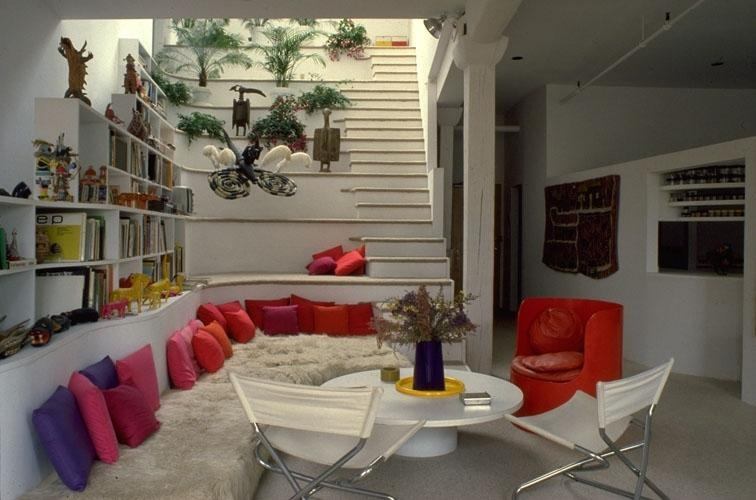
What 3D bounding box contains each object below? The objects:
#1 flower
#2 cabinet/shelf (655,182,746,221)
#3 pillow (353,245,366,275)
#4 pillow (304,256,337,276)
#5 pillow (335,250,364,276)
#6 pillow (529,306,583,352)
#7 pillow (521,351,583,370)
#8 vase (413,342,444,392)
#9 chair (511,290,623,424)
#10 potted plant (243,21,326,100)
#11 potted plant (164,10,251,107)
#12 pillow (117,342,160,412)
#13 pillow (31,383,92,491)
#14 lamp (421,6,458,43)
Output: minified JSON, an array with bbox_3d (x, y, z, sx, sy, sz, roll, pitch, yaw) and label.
[{"bbox_3d":[0.362,0.552,4.028,0.624,0.472,0.636,-2,8,6],"label":"flower"},{"bbox_3d":[4.326,-0.604,6.533,1.295,0.423,0.851,-2,4,-37],"label":"cabinet/shelf"},{"bbox_3d":[-0.221,0.145,7.080,0.109,0.324,0.323,11,4,-3],"label":"pillow"},{"bbox_3d":[-0.774,0.223,7.081,0.270,0.093,0.291,-26,29,0],"label":"pillow"},{"bbox_3d":[-0.388,0.176,7.038,0.429,0.326,0.429,0,3,-4],"label":"pillow"},{"bbox_3d":[1.799,0.778,5.136,0.544,0.383,0.557,2,18,15],"label":"pillow"},{"bbox_3d":[1.625,1.026,4.645,0.302,0.072,0.244,-6,-1,-8],"label":"pillow"},{"bbox_3d":[0.392,0.904,4.072,0.333,0.457,0.341,1,0,3],"label":"vase"},{"bbox_3d":[1.792,1.117,4.938,1.033,1.132,1.011,2,1,-2],"label":"chair"},{"bbox_3d":[-1.703,-3.816,9.724,1.401,1.878,1.901,0,3,-6],"label":"potted plant"},{"bbox_3d":[-3.137,-3.531,9.201,1.549,1.621,1.544,-2,4,-24],"label":"potted plant"},{"bbox_3d":[-1.818,0.975,3.840,0.168,0.387,0.514,-3,3,1],"label":"pillow"},{"bbox_3d":[-1.993,1.204,3.190,0.270,0.487,0.547,-2,15,-15],"label":"pillow"},{"bbox_3d":[0.703,-2.553,5.729,0.272,0.252,0.253,-38,31,-20],"label":"lamp"}]
